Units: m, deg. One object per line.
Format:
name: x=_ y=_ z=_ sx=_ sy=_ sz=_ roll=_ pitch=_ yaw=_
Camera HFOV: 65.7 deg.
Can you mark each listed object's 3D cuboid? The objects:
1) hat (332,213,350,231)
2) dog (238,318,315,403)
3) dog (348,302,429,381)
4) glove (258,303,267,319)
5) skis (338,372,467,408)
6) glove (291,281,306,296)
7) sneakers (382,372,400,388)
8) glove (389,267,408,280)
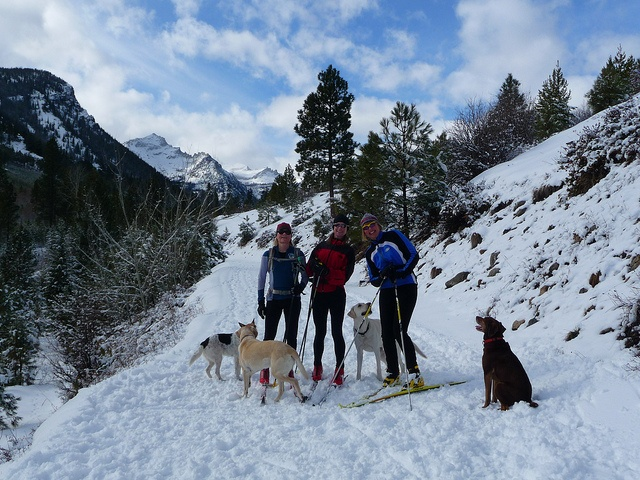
hat: x=0.529 y=-0.449 z=12.606 sx=0.237 sy=0.409 sz=0.305 roll=2 pitch=-3 yaw=9
dog: x=-1.365 y=3.161 z=12.422 sx=2.260 sy=1.946 sz=0.701 roll=4 pitch=5 yaw=32
dog: x=1.751 y=2.698 z=13.235 sx=0.915 sy=2.176 sz=3.041 roll=-6 pitch=-7 yaw=38
glove: x=-1.495 y=1.826 z=12.649 sx=0.201 sy=0.364 sz=0.112 roll=7 pitch=1 yaw=26
skis: x=2.047 y=3.717 z=12.139 sx=1.811 sy=0.170 sz=0.226 roll=-18 pitch=2 yaw=-4
glove: x=-0.537 y=1.270 z=12.649 sx=0.385 sy=0.299 sz=0.228 roll=-4 pitch=-1 yaw=-41
sneakers: x=1.756 y=3.483 z=12.295 sx=0.570 sy=0.312 sz=0.190 roll=-6 pitch=-7 yaw=-41
glove: x=1.919 y=0.832 z=12.205 sx=0.508 sy=0.321 sz=0.127 roll=-5 pitch=-1 yaw=7
